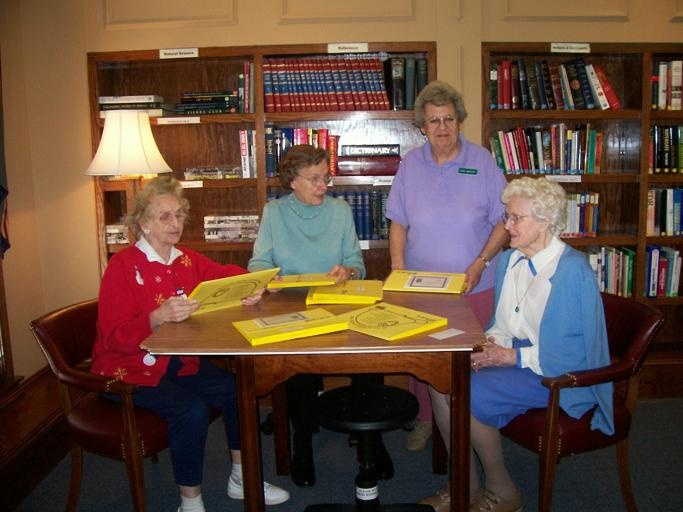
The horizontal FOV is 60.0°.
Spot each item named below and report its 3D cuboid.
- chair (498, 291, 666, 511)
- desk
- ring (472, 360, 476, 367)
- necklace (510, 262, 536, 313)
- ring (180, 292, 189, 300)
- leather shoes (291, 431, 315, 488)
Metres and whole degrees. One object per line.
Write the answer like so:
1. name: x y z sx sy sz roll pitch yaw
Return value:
1. chair: 1.286 0.695 3.364 1.007 1.326 0.928 -1 3 -7
2. desk: 0.020 0.354 2.807 1.221 0.915 0.985 -1 6 1
3. ring: 0.646 0.521 2.866 0.025 0.024 0.008 -6 15 -3
4. necklace: 0.910 0.154 2.934 0.056 0.217 0.155 15 -14 -38
5. ring: -0.755 0.205 2.849 0.042 0.032 0.069 0 12 -13
6. leather shoes: -0.221 1.164 3.430 0.112 0.125 0.314 -1 40 -4
